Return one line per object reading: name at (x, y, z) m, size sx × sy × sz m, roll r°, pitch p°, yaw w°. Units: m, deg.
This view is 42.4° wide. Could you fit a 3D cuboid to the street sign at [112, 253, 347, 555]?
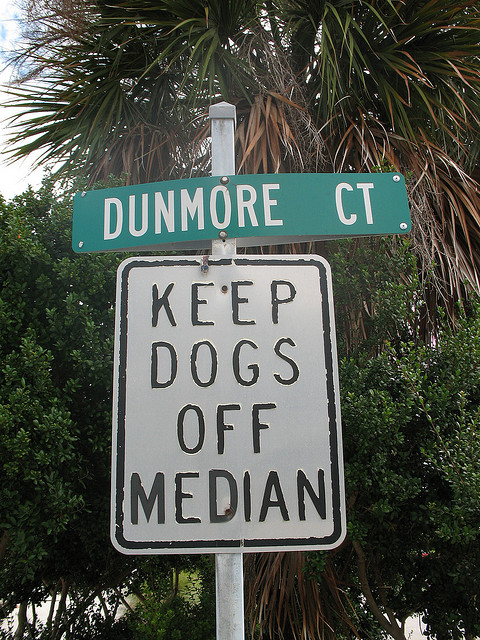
street sign at (-0.029, 0.161, 1.322) m, size 0.444 × 0.034 × 0.702 m, roll -1°, pitch 55°, yaw 0°
